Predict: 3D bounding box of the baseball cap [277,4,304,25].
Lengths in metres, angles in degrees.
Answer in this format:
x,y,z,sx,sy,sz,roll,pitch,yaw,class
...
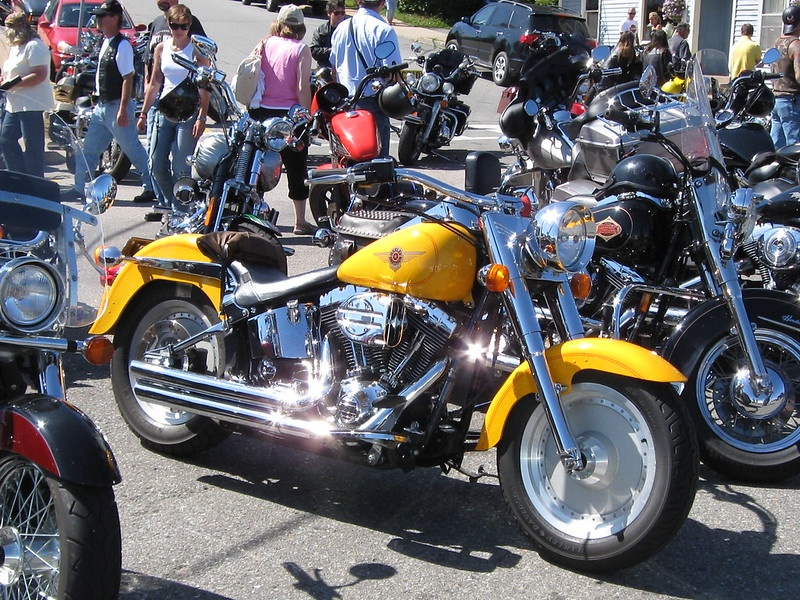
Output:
x,y,z,sx,sy,sz,roll,pitch,yaw,class
-1.290,-3.388,8.504,0.301,0.292,0.393,1,11,-12,baseball cap

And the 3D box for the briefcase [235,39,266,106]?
x,y,z,sx,sy,sz,roll,pitch,yaw,class
-1.727,-2.678,8.419,0.231,0.634,0.633,12,20,-5,briefcase

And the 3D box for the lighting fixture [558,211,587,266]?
x,y,z,sx,sy,sz,roll,pitch,yaw,class
0.782,-0.273,3.217,0.177,0.273,0.053,-6,14,-39,lighting fixture

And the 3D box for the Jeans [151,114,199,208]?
x,y,z,sx,sy,sz,roll,pitch,yaw,class
-2.741,-1.737,8.757,0.541,1.806,0.479,-8,43,-23,Jeans

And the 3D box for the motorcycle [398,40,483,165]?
x,y,z,sx,sy,sz,roll,pitch,yaw,class
0.660,-3.328,12.027,1.194,1.712,2.960,18,28,12,motorcycle

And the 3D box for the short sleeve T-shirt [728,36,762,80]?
x,y,z,sx,sy,sz,roll,pitch,yaw,class
6.604,-4.701,13.827,0.610,0.871,0.312,24,55,39,short sleeve T-shirt

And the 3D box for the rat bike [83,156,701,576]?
x,y,z,sx,sy,sz,roll,pitch,yaw,class
-0.172,0.163,3.840,3.182,1.962,1.308,7,2,24,rat bike
